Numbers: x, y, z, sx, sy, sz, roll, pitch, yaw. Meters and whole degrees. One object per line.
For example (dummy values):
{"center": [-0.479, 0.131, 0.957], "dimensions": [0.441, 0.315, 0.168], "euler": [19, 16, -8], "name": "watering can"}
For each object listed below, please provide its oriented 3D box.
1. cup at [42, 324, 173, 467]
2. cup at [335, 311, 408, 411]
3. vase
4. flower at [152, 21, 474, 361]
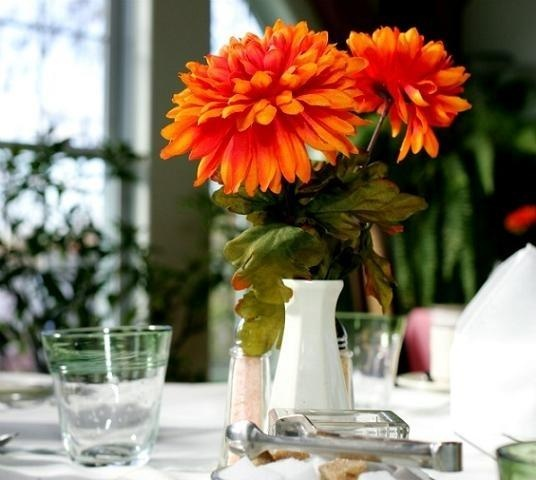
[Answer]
{"center": [-0.166, 0.152, 0.808], "dimensions": [0.115, 0.154, 0.126], "euler": [-1, -10, 0], "name": "cup"}
{"center": [0.151, 0.183, 1.165], "dimensions": [0.108, 0.155, 0.122], "euler": [3, -10, -21], "name": "cup"}
{"center": [0.053, 0.138, 0.881], "dimensions": [0.076, 0.179, 0.085], "euler": [-12, -24, 31], "name": "vase"}
{"center": [0.058, -0.052, 0.871], "dimensions": [0.324, 0.382, 0.200], "euler": [1, 7, 17], "name": "flower"}
